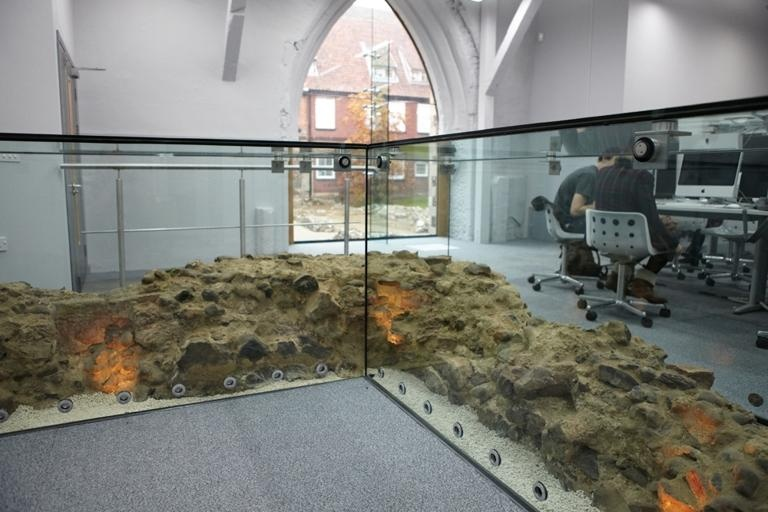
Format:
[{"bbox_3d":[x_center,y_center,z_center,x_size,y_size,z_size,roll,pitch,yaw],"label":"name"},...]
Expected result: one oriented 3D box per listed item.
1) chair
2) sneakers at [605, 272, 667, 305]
[{"bbox_3d":[0.716,-0.029,1.392,0.322,0.318,0.306,-16,23,-35],"label":"chair"},{"bbox_3d":[0.772,0.090,1.319,0.051,0.081,0.164,-6,15,-36],"label":"sneakers"}]
